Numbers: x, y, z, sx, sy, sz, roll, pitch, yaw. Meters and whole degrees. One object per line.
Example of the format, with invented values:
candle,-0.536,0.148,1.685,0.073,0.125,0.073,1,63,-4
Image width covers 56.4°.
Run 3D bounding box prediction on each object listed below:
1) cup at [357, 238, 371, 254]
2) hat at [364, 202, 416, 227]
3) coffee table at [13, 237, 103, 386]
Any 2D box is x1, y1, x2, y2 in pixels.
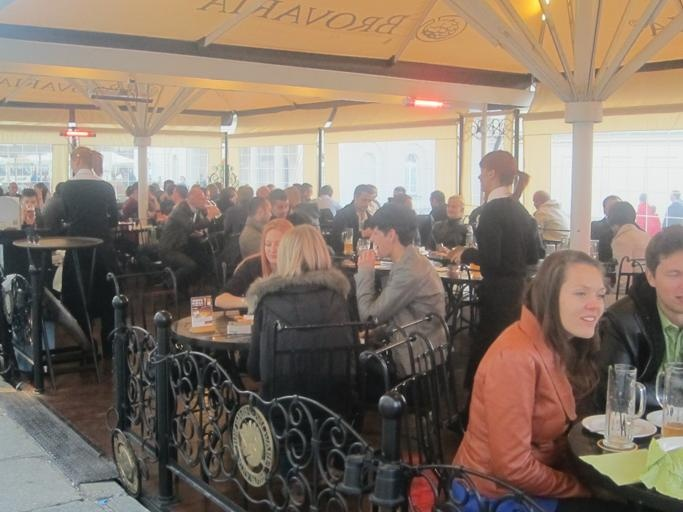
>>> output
cup,0.247,-0.107,6.885,0.144,0.243,0.154,-1,0,0
hat,0.352,-0.275,4.166,0.212,0.168,0.182,7,16,27
coffee table,-2.452,0.442,5.592,0.661,1.264,1.129,-3,6,-21
